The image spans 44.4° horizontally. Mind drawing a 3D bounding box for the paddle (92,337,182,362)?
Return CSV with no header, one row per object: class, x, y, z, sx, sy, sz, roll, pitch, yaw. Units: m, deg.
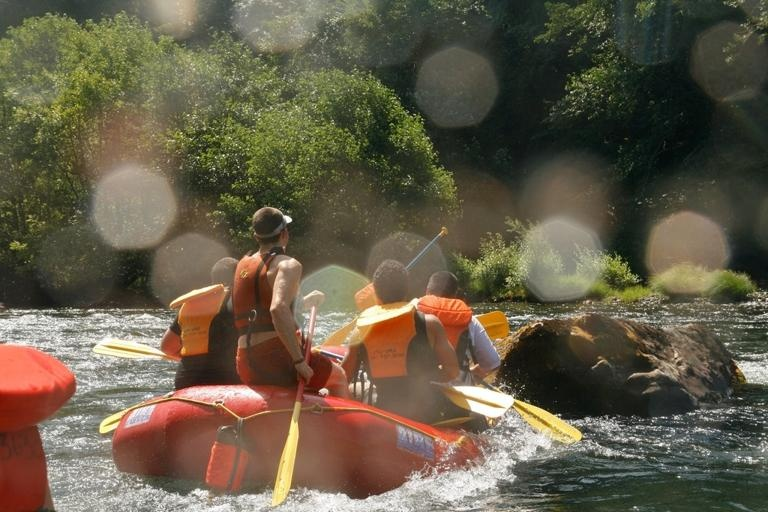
paddle,-7.821,2.978,29.607,2.195,0.139,0.595,10,36,12
